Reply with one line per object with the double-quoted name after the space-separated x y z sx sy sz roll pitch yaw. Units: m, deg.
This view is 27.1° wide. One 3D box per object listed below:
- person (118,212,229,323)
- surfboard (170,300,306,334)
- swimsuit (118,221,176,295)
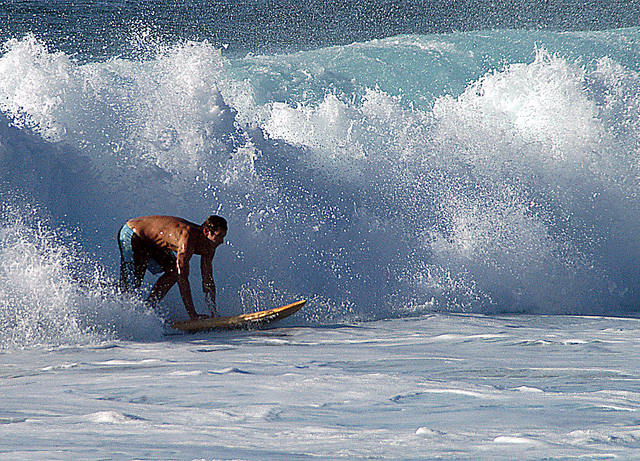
-2.099 0.422 18.106 1.629 0.937 1.478 5 96 4 "person"
-0.857 1.160 18.353 2.532 0.523 0.348 -7 91 -23 "surfboard"
-2.355 0.338 17.995 0.937 0.516 0.541 11 35 -33 "swimsuit"
